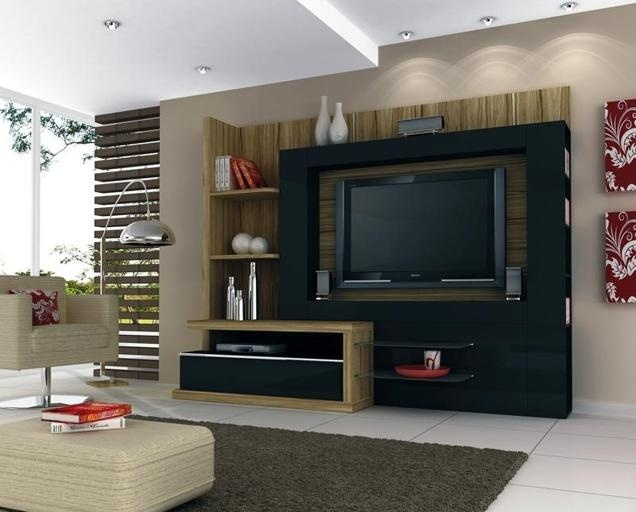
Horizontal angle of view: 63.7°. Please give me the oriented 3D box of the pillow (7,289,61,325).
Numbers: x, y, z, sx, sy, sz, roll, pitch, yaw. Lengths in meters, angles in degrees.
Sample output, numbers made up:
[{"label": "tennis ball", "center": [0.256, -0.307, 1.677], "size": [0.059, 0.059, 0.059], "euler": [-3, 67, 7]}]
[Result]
[{"label": "pillow", "center": [-2.123, 0.385, 3.816], "size": [0.107, 0.237, 0.283], "euler": [-21, -14, 28]}]

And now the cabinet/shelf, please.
[{"label": "cabinet/shelf", "center": [0.510, 0.011, 3.948], "size": [3.041, 2.238, 0.775], "euler": [-1, -6, 21]}]

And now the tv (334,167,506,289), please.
[{"label": "tv", "center": [0.842, -0.205, 3.954], "size": [1.126, 0.676, 0.103], "euler": [0, -1, 22]}]

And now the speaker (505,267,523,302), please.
[{"label": "speaker", "center": [1.391, 0.194, 3.614], "size": [0.140, 0.229, 0.084], "euler": [5, 7, 5]}]

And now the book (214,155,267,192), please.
[{"label": "book", "center": [-0.687, -0.707, 4.461], "size": [0.389, 0.137, 0.374], "euler": [0, 0, 33]}]
